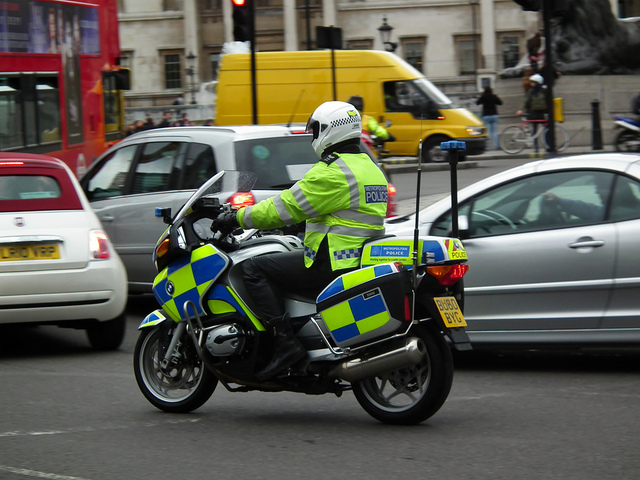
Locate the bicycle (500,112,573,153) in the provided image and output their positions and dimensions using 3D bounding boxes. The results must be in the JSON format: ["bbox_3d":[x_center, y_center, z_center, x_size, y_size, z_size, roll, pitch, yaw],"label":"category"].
[{"bbox_3d":[6.988,-3.524,24.456,2.995,1.256,1.056,-6,6,-27],"label":"bicycle"}]

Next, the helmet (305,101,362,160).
[{"bbox_3d":[0.086,-0.774,5.293,0.449,0.321,0.345,3,7,35],"label":"helmet"}]

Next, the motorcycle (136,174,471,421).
[{"bbox_3d":[-0.239,0.490,5.476,3.154,1.453,1.231,-5,-12,39],"label":"motorcycle"}]

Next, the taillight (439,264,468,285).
[{"bbox_3d":[0.883,0.223,4.917,0.137,0.149,0.243,0,5,23],"label":"taillight"}]

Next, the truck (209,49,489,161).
[{"bbox_3d":[1.851,-4.695,25.255,10.783,3.347,3.694,10,21,36],"label":"truck"}]

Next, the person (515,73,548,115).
[{"bbox_3d":[6.794,-4.691,23.803,0.733,1.207,1.178,-1,5,10],"label":"person"}]

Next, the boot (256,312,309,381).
[{"bbox_3d":[-0.267,0.724,5.056,0.330,0.457,0.146,1,6,33],"label":"boot"}]
